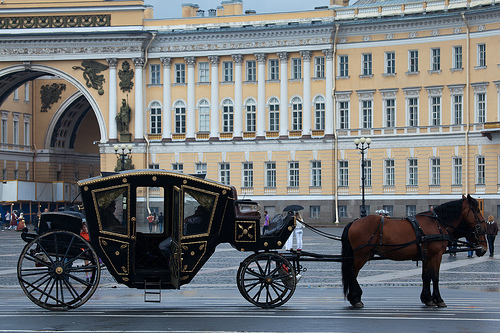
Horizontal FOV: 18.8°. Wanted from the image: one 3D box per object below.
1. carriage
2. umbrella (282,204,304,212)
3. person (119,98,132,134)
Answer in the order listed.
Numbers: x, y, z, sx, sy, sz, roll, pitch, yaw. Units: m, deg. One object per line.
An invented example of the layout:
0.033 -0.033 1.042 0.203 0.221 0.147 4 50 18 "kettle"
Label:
0.148 3.326 66.380 20.463 5.324 6.298 -1 -2 6 "carriage"
2.415 2.353 84.887 0.901 0.306 0.840 1 -6 -25 "umbrella"
-8.476 -3.506 101.789 0.882 2.403 0.506 1 -1 -4 "person"
